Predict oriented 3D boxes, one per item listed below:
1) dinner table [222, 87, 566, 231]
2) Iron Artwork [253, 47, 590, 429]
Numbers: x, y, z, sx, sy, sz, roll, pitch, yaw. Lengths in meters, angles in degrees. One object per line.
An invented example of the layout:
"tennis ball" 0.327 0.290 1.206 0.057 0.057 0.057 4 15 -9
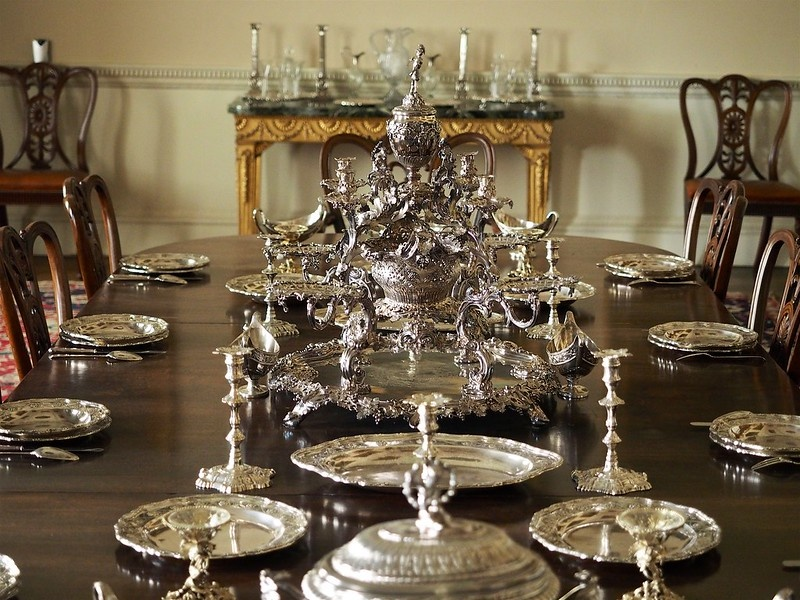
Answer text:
"dinner table" -0.040 -0.702 3.878 1.375 0.784 0.420 -1 13 -2
"Iron Artwork" 0.033 -0.145 1.770 0.657 0.717 0.659 2 7 15
